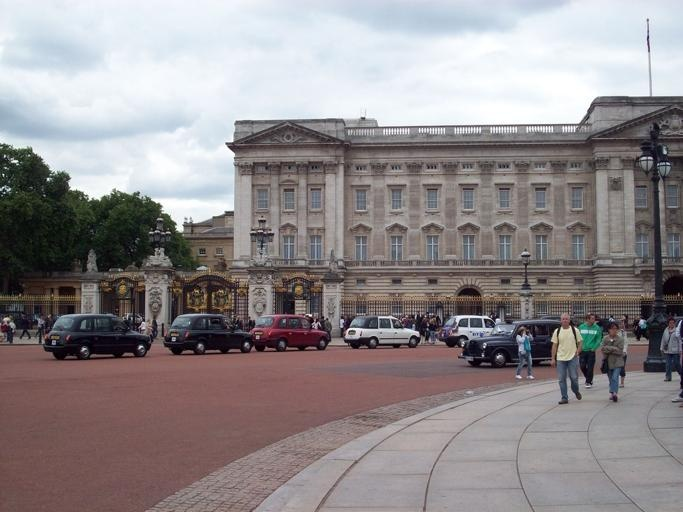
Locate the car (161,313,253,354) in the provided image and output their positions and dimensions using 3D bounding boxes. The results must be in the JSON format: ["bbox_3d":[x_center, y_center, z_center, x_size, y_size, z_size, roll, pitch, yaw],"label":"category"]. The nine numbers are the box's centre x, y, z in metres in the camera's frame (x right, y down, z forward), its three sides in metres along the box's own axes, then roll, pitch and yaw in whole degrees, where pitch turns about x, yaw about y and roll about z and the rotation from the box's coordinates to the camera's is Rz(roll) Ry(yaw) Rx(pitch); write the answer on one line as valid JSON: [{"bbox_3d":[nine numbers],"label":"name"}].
[{"bbox_3d":[-5.796,3.422,44.575,3.450,1.753,1.500,1,-2,-34],"label":"car"}]

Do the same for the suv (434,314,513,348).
[{"bbox_3d":[6.860,3.927,52.830,3.364,1.343,1.658,-3,2,-7],"label":"suv"}]

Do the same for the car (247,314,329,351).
[{"bbox_3d":[-2.585,3.639,47.873,3.327,1.693,1.409,1,-2,-32],"label":"car"}]
